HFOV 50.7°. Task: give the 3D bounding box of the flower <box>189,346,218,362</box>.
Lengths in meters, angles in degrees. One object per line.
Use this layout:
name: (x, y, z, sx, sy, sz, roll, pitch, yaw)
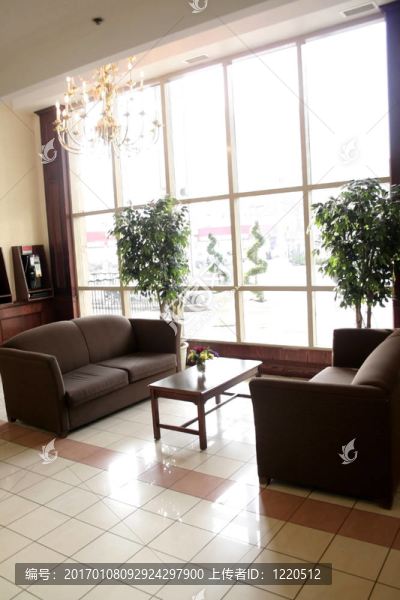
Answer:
flower: (0.003, 0.500, 3.787, 0.144, 0.118, 0.166, -1, -1, 19)
